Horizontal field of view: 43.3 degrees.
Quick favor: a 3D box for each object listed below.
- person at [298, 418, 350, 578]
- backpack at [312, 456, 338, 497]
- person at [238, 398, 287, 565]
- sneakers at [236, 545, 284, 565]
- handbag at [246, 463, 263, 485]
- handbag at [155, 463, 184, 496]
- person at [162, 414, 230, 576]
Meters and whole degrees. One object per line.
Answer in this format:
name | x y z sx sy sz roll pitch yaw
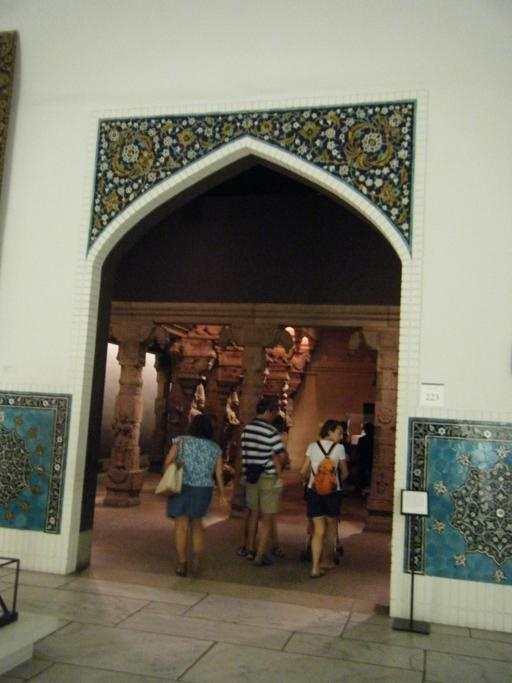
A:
person | 0.508 1.177 4.932 0.335 1.148 0.578 3 -8 4
backpack | 0.509 0.997 4.745 0.183 0.279 0.120 4 -8 -1
person | 0.037 1.122 5.248 0.375 1.294 0.835 3 -7 2
sneakers | 0.036 1.749 5.272 0.157 0.086 0.286 -1 -4 23
handbag | -0.020 1.001 4.870 0.148 0.136 0.038 -11 -16 28
handbag | -0.588 0.952 4.434 0.171 0.240 0.168 4 -7 -5
person | -0.448 1.115 4.813 0.452 1.140 0.901 4 -7 -2
